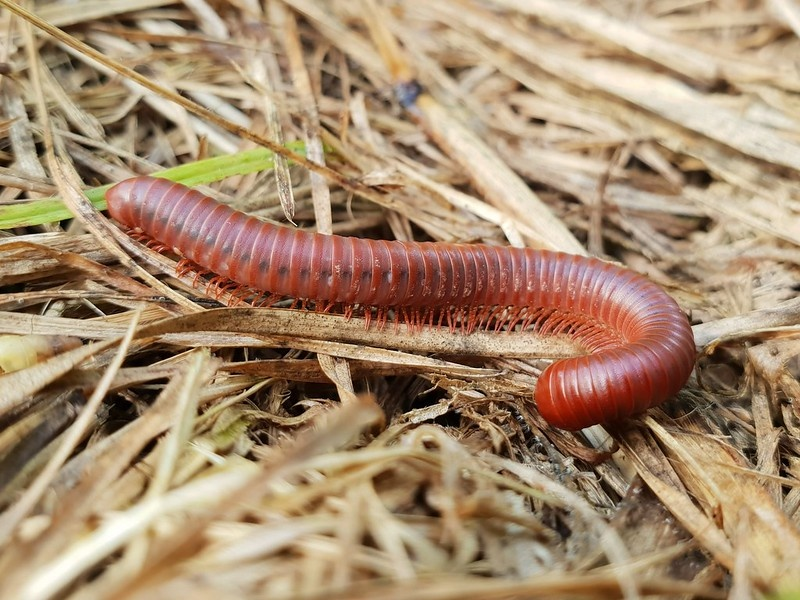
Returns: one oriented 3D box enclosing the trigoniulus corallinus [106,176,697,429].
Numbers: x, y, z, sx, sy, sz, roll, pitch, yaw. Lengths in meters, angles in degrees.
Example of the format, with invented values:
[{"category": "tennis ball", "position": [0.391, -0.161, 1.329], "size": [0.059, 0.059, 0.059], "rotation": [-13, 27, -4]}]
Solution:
[{"category": "trigoniulus corallinus", "position": [0.188, -0.079, 4.806], "size": [3.220, 1.037, 1.238], "rotation": [19, 59, 12]}]
